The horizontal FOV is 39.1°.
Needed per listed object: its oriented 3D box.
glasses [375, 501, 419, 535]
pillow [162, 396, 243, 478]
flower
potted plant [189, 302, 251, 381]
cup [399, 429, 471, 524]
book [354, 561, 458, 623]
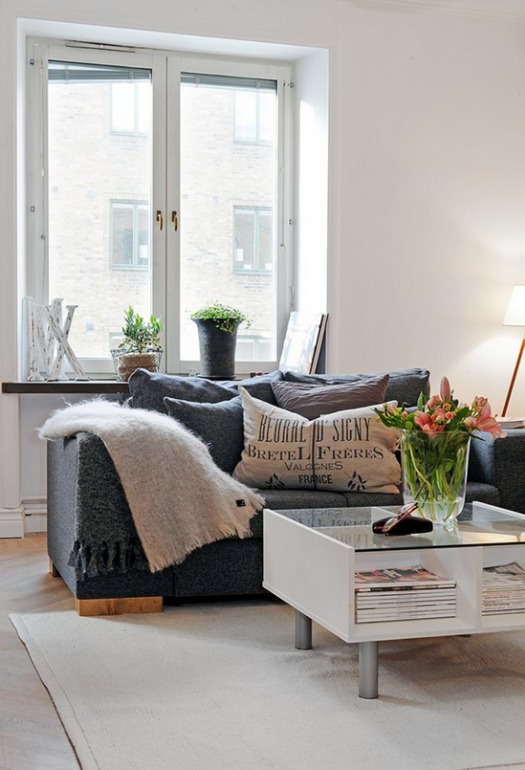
[{"bbox_3d":[0.319,0.326,1.755,0.095,0.041,0.054,0,-4,-24],"label":"glasses"},{"bbox_3d":[-0.204,0.184,2.464,0.094,0.212,0.268,-1,7,40],"label":"pillow"},{"bbox_3d":[0.392,0.163,1.989,0.378,0.373,0.362,1,-4,0],"label":"flower"},{"bbox_3d":[-0.233,-0.223,3.717,0.369,0.372,0.351,0,-1,-1],"label":"potted plant"},{"bbox_3d":[0.414,0.237,1.927,0.252,0.284,0.205,1,-6,-1],"label":"cup"},{"bbox_3d":[0.304,0.469,1.662,0.164,0.053,0.159,0,-4,-12],"label":"book"}]
